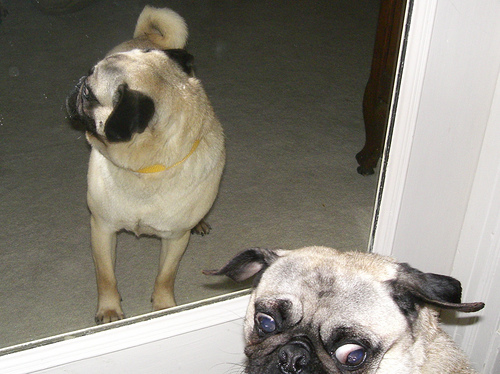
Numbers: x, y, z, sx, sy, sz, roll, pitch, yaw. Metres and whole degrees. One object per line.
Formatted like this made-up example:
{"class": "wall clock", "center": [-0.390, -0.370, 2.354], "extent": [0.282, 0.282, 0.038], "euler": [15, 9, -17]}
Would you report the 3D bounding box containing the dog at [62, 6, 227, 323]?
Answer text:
{"class": "dog", "center": [-0.318, -0.056, 1.743], "extent": [0.484, 0.999, 0.301], "euler": [0, 14, -4]}
